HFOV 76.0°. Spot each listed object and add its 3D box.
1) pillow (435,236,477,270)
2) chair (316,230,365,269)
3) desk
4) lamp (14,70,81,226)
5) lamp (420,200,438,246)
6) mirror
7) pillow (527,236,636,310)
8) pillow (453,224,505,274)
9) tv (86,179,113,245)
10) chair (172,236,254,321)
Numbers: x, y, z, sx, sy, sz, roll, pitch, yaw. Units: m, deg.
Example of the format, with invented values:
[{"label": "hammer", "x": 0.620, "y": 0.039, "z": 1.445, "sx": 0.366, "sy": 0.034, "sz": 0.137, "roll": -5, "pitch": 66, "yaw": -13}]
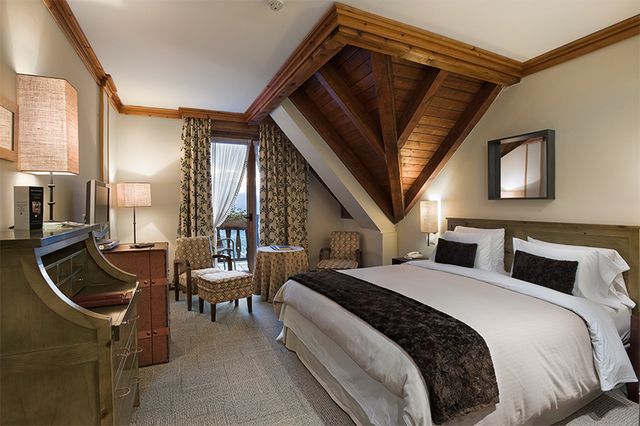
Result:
[{"label": "pillow", "x": 1.637, "y": 0.489, "z": 4.978, "sx": 0.133, "sy": 0.284, "sz": 0.453, "roll": 14, "pitch": -7, "yaw": -30}, {"label": "chair", "x": 0.350, "y": 0.755, "z": 6.661, "sx": 0.722, "sy": 0.872, "sz": 0.805, "roll": 1, "pitch": 0, "yaw": 1}, {"label": "desk", "x": -0.533, "y": 0.894, "z": 6.222, "sx": 0.901, "sy": 0.696, "sz": 0.927, "roll": 0, "pitch": -12, "yaw": -18}, {"label": "lamp", "x": -2.230, "y": -0.712, "z": 3.329, "sx": 0.453, "sy": 0.793, "sz": 0.311, "roll": -7, "pitch": 15, "yaw": -27}, {"label": "lamp", "x": 1.578, "y": 0.171, "z": 5.898, "sx": 0.248, "sy": 0.637, "sz": 0.244, "roll": -1, "pitch": 3, "yaw": -20}, {"label": "mirror", "x": 2.354, "y": -0.520, "z": 4.798, "sx": 0.735, "sy": 0.709, "sz": 0.125, "roll": -3, "pitch": 4, "yaw": 5}, {"label": "pillow", "x": 2.780, "y": 0.608, "z": 4.212, "sx": 0.229, "sy": 0.527, "sz": 0.827, "roll": -11, "pitch": 17, "yaw": -38}, {"label": "pillow", "x": 1.931, "y": 0.458, "z": 4.908, "sx": 0.185, "sy": 0.482, "sz": 0.524, "roll": 11, "pitch": -11, "yaw": -39}, {"label": "tv", "x": -2.298, "y": 0.002, "z": 4.214, "sx": 0.162, "sy": 0.653, "sz": 0.722, "roll": 1, "pitch": 1, "yaw": -16}, {"label": "chair", "x": -1.571, "y": 0.881, "z": 5.846, "sx": 0.691, "sy": 0.934, "sz": 1.312, "roll": -2, "pitch": 4, "yaw": -40}]
